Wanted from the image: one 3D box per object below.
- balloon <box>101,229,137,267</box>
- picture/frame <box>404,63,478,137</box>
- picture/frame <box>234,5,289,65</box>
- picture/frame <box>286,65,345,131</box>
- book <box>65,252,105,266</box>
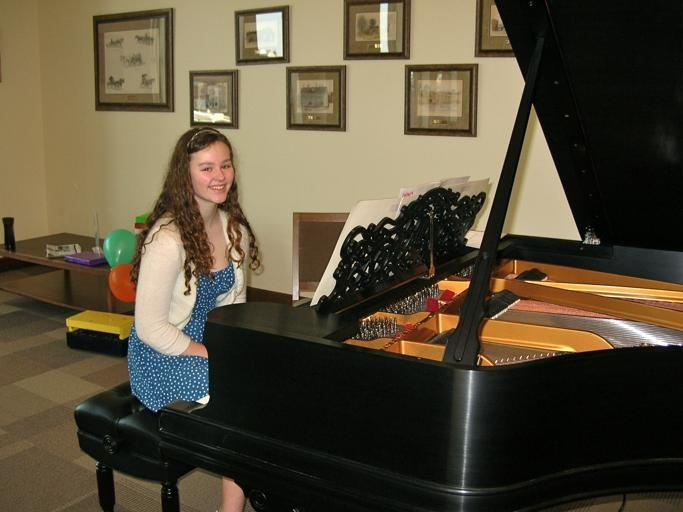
[{"bbox_3d":[-1.814,-0.057,4.439,0.223,0.286,0.235,18,-14,-3],"label":"balloon"},{"bbox_3d":[0.805,-1.253,4.355,0.590,0.589,0.050,4,11,25],"label":"picture/frame"},{"bbox_3d":[-0.718,-2.023,4.991,0.563,0.477,0.038,5,15,22],"label":"picture/frame"},{"bbox_3d":[-0.223,-1.412,4.846,0.595,0.598,0.044,5,16,21],"label":"picture/frame"},{"bbox_3d":[-2.244,0.018,4.793,0.395,0.064,0.229,11,17,33],"label":"book"}]
